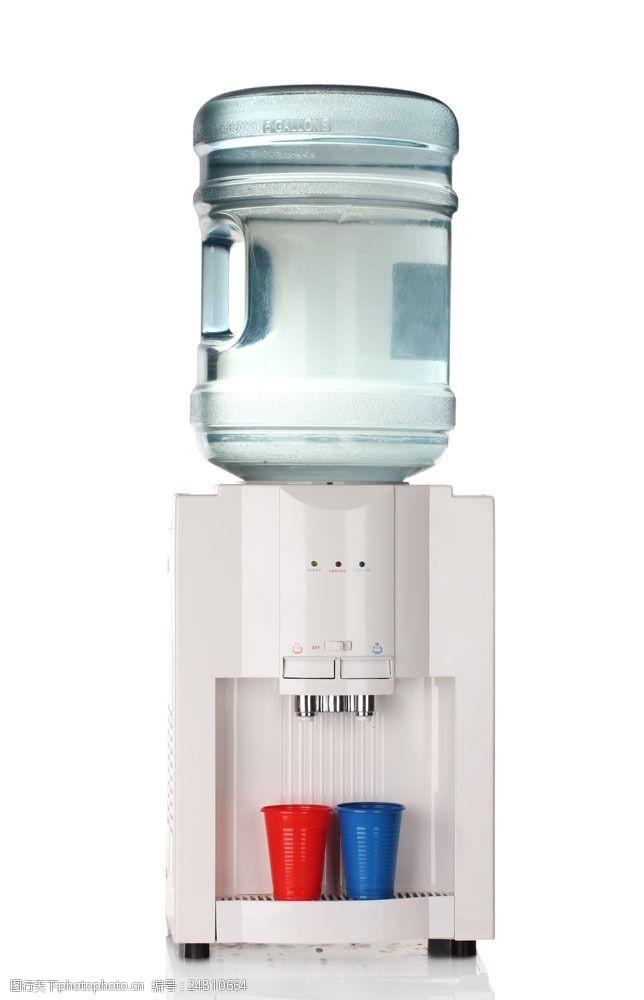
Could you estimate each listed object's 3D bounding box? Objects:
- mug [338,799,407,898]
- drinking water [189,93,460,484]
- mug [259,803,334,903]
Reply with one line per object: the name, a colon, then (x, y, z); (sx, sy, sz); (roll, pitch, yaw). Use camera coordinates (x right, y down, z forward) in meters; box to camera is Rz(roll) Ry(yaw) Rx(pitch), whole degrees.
mug: (0.076, 0.585, 2.003); (0.137, 0.199, 0.136); (0, -3, 1)
drinking water: (-0.015, -0.407, 2.361); (0.548, 0.990, 0.615); (2, 5, 16)
mug: (-0.034, 0.590, 1.966); (0.104, 0.134, 0.101); (8, -14, -37)
